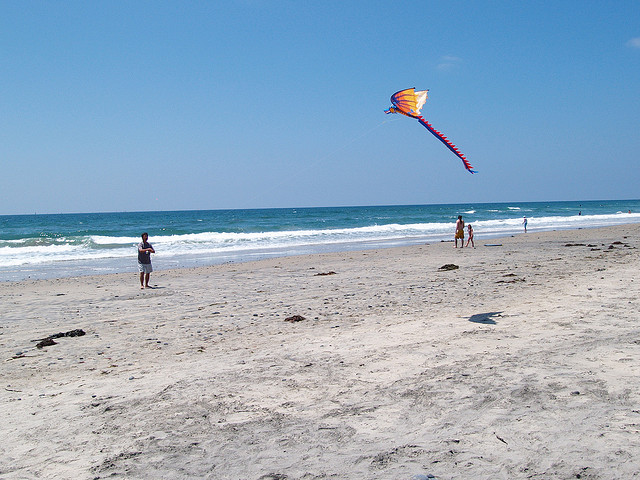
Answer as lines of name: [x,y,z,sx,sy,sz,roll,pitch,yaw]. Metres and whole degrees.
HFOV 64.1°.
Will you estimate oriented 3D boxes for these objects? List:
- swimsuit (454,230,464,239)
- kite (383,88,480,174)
swimsuit: [6.117,-0.217,22.508,0.317,0.424,0.522,-4,6,9]
kite: [1.851,-2.172,9.447,0.616,1.199,1.154,-8,6,-18]
